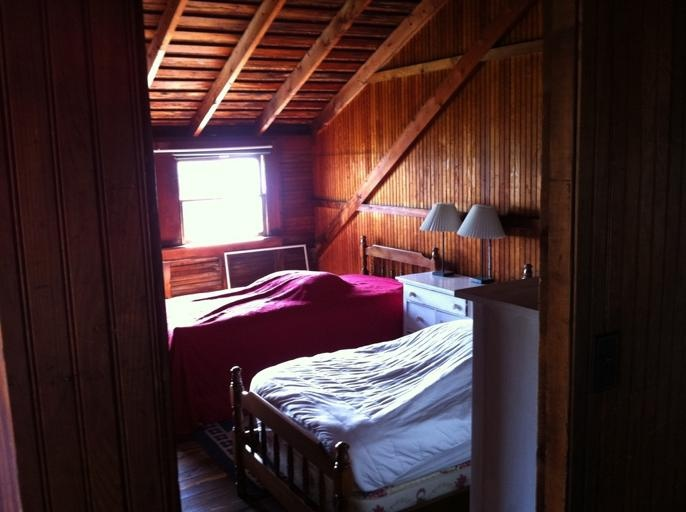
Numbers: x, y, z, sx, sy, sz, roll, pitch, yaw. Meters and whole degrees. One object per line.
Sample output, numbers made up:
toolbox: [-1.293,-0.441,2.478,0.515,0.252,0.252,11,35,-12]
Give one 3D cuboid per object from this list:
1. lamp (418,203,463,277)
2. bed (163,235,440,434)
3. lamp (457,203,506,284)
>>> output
lamp: [0.783,-0.131,4.627,0.333,0.582,0.339,9,15,37]
bed: [-0.455,0.434,4.616,1.829,0.899,1.242,-5,9,-32]
lamp: [1.009,-0.092,4.265,0.426,0.566,0.445,3,12,24]
